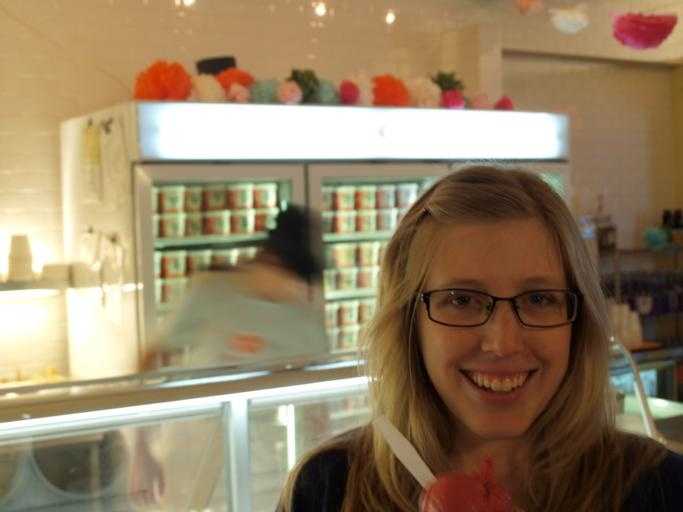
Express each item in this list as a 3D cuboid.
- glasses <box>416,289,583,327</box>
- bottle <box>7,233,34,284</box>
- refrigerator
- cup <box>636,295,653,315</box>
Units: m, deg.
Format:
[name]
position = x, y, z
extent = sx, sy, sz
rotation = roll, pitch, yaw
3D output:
[glasses]
position = 0.292, 0.096, 1.132
extent = 0.275, 0.071, 0.079
rotation = -3, 0, 13
[bottle]
position = -1.685, 0.017, 3.208
extent = 0.120, 0.255, 0.068
rotation = -3, 0, -28
[refrigerator]
position = 0.070, -0.030, 3.879
extent = 2.463, 1.925, 0.819
rotation = 0, 24, 3
[cup]
position = 2.222, 0.364, 4.499
extent = 0.154, 0.145, 0.071
rotation = 0, -3, -19
